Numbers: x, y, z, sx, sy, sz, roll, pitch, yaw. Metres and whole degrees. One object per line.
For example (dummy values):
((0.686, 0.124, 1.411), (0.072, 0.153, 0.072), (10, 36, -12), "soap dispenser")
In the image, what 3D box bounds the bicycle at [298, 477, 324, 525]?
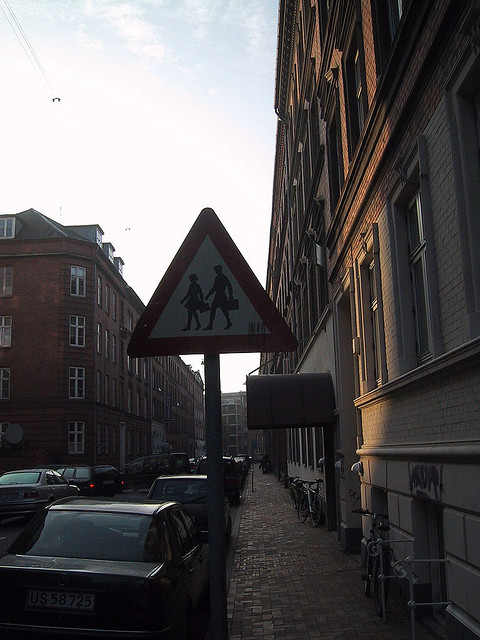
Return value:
((2.364, 5.977, 15.495), (0.568, 1.246, 1.589), (5, -19, -5), "bicycle")

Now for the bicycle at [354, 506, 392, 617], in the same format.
((1.825, 3.179, 6.525), (0.372, 1.070, 1.340), (5, -7, 8), "bicycle")
